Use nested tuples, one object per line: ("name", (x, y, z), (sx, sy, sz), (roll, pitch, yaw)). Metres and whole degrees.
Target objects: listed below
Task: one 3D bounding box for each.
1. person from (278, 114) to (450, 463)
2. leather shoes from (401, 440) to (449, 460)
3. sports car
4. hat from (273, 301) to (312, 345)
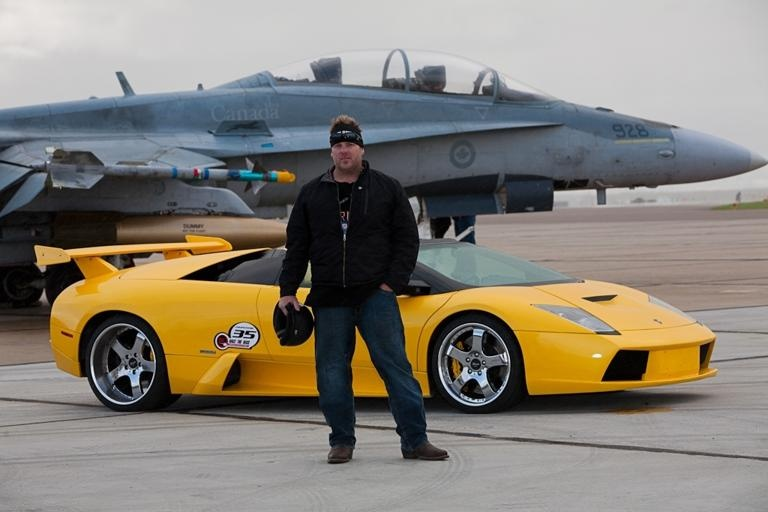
("person", (-0.234, 0.240, 6.174), (1.090, 2.510, 0.648), (-1, 6, -7))
("leather shoes", (0.303, 1.430, 6.130), (0.349, 0.106, 0.132), (-3, -3, 14))
("sports car", (-0.160, 0.740, 7.881), (4.609, 0.958, 2.492), (-2, 0, 10))
("hat", (-0.691, 0.518, 6.281), (0.404, 0.288, 0.266), (3, -3, -6))
